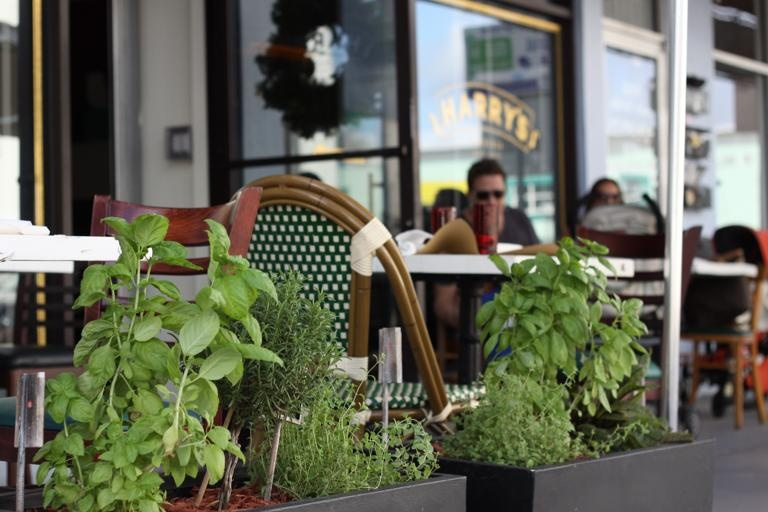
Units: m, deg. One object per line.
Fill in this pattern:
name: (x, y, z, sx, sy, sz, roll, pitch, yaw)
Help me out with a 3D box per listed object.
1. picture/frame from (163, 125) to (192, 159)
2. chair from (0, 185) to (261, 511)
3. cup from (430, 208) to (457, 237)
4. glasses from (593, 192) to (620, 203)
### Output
picture/frame: (-1.333, -0.727, 10.085, 0.191, 0.205, 0.053, 1, 1, 29)
chair: (-1.190, 0.352, 7.676, 0.990, 1.883, 1.175, 0, -7, 23)
cup: (0.301, -0.169, 8.078, 0.114, 0.235, 0.121, 0, 6, 0)
glasses: (1.499, -0.387, 10.585, 0.100, 0.085, 0.095, 1, 2, 0)
